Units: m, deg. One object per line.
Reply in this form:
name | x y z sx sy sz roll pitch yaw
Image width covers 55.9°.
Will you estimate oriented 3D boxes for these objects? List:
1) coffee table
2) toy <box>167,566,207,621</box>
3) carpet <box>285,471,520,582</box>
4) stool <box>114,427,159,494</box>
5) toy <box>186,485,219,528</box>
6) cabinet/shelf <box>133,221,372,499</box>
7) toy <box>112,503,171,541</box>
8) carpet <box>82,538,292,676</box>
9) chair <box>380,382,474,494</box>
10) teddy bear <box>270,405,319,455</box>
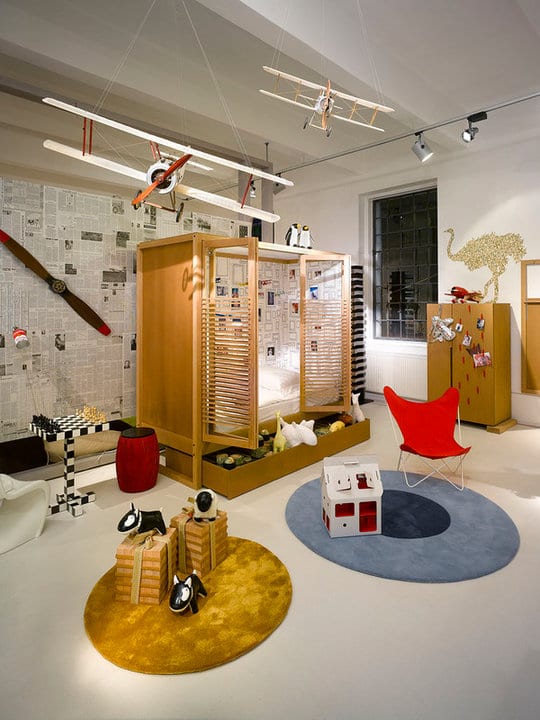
coffee table | -1.450 0.747 3.668 0.530 0.596 0.537 -8 -3 26
toy | -0.392 1.105 2.399 0.092 0.159 0.267 -3 -1 6
carpet | 0.894 1.058 3.368 1.499 0.044 1.418 -5 9 -33
stool | -1.007 0.771 4.050 0.415 0.555 0.383 -1 3 -16
toy | -0.361 0.779 2.826 0.180 0.164 0.218 -5 9 -36
cabinet/shelf | -0.133 -0.087 4.960 1.594 2.071 2.138 8 10 44
toy | -0.656 0.850 2.718 0.312 0.223 0.119 6 -10 -43
carpet | -0.334 1.176 2.430 1.029 0.055 0.749 -3 8 -23
chair | 1.265 0.587 4.199 0.688 0.764 0.753 -1 -1 15
teddy bear | 0.222 0.646 4.415 0.349 0.250 0.264 -1 -1 22
